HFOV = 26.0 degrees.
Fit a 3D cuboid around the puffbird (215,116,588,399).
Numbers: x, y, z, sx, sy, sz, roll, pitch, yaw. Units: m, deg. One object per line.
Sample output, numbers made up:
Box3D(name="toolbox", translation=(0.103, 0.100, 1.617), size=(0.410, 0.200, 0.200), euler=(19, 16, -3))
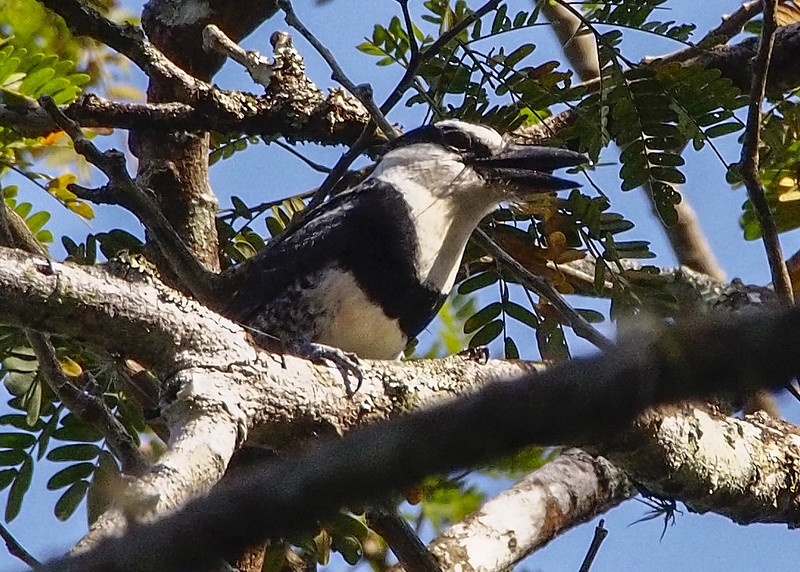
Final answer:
Box3D(name="puffbird", translation=(-0.087, -0.125, 6.759), size=(1.381, 1.172, 0.632), euler=(3, -17, 28))
